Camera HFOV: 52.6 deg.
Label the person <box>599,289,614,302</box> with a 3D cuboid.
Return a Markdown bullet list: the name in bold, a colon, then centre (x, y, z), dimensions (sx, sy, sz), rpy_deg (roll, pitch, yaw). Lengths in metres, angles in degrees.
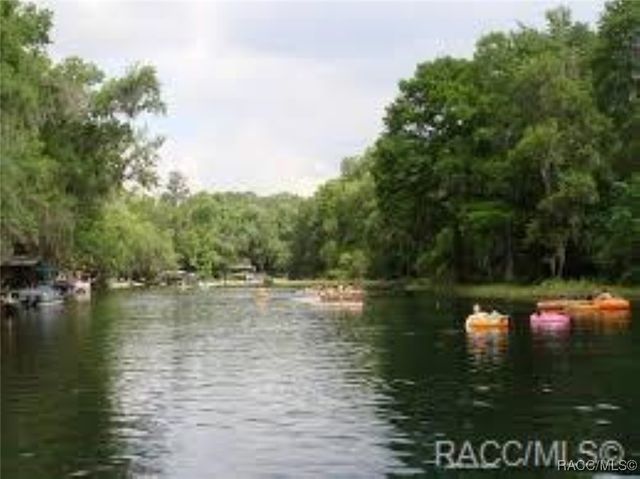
- **person**: centre (19.483, 3.807, 44.148), dimensions (0.542, 0.774, 0.747), rpy_deg (-3, 10, 6)

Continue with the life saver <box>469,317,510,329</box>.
- **life saver**: centre (8.797, 4.443, 33.925), dimensions (2.014, 0.591, 0.829), rpy_deg (1, -5, -1)

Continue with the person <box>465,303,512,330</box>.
- **person**: centre (8.563, 4.096, 34.455), dimensions (1.397, 1.011, 1.987), rpy_deg (1, -8, -31)
